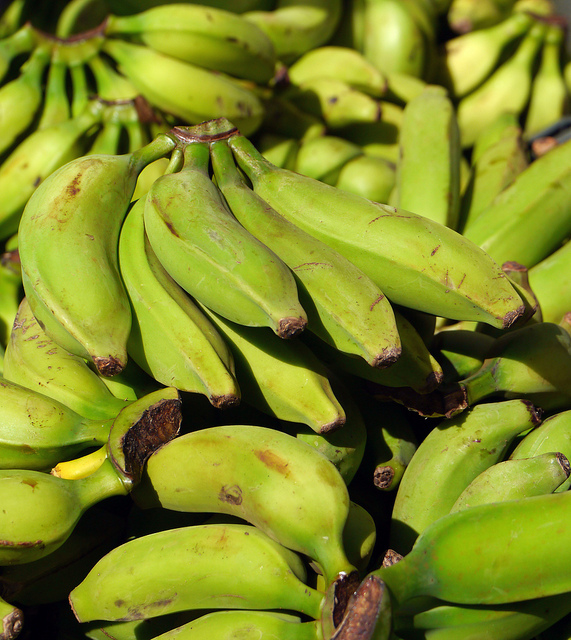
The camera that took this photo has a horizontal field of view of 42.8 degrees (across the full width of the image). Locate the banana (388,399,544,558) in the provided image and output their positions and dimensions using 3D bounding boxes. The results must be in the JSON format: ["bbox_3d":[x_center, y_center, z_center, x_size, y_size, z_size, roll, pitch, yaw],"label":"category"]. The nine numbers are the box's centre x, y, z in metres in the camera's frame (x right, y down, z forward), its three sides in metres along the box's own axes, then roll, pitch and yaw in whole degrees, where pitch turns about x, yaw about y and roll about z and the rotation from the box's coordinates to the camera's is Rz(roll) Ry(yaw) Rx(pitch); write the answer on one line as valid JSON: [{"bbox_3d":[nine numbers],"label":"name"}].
[{"bbox_3d":[0.270,0.235,1.071,0.252,0.084,0.078,-46,38,-5],"label":"banana"}]

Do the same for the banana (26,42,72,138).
[{"bbox_3d":[-0.559,-0.555,1.767,0.057,0.082,0.284,1,84,32],"label":"banana"}]

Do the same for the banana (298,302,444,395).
[{"bbox_3d":[0.153,0.029,1.211,0.178,0.094,0.320,5,9,-7],"label":"banana"}]

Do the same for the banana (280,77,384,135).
[{"bbox_3d":[0.110,-0.573,1.884,0.320,0.098,0.097,24,16,39],"label":"banana"}]

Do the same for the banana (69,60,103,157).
[{"bbox_3d":[-0.490,-0.552,1.784,0.090,0.054,0.288,-2,71,-20],"label":"banana"}]

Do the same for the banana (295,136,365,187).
[{"bbox_3d":[0.117,-0.400,1.862,0.192,0.140,0.101,3,90,27],"label":"banana"}]

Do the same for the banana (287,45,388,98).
[{"bbox_3d":[0.122,-0.673,1.939,0.291,0.137,0.067,7,73,9],"label":"banana"}]

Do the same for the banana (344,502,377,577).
[{"bbox_3d":[0.109,0.313,1.052,0.058,0.040,0.099,4,38,3],"label":"banana"}]

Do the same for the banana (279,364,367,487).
[{"bbox_3d":[0.070,0.164,1.220,0.119,0.071,0.208,-34,35,4],"label":"banana"}]

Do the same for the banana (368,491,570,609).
[{"bbox_3d":[0.244,0.301,0.931,0.264,0.085,0.108,-9,50,0],"label":"banana"}]

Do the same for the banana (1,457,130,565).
[{"bbox_3d":[-0.309,0.275,1.094,0.225,0.099,0.103,-9,41,-33],"label":"banana"}]

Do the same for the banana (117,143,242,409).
[{"bbox_3d":[-0.146,-0.073,1.124,0.134,0.153,0.390,-19,87,-30],"label":"banana"}]

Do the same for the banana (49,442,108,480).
[{"bbox_3d":[-0.316,0.215,1.114,0.083,0.025,0.036,-17,44,13],"label":"banana"}]

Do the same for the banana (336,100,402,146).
[{"bbox_3d":[0.215,-0.505,1.879,0.153,0.038,0.135,20,68,13],"label":"banana"}]

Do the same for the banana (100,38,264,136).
[{"bbox_3d":[-0.203,-0.542,1.684,0.452,0.152,0.125,33,63,26],"label":"banana"}]

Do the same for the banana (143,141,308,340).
[{"bbox_3d":[-0.103,-0.119,1.119,0.138,0.134,0.385,-19,59,-23],"label":"banana"}]

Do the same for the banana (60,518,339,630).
[{"bbox_3d":[-0.097,0.343,0.995,0.396,0.104,0.145,-12,40,26],"label":"banana"}]
